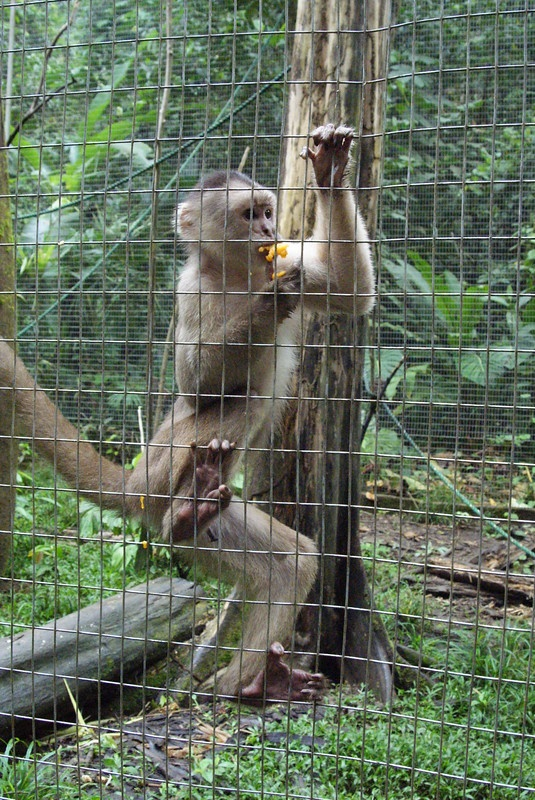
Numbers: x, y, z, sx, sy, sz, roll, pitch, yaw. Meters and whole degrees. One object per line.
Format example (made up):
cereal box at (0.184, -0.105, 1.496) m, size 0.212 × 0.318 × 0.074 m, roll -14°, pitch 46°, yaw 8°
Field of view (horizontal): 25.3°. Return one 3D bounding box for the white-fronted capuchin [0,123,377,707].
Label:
white-fronted capuchin at (-0.277, 0.082, 5.652) m, size 1.775 × 2.726 × 1.598 m, roll 2°, pitch 3°, yaw 31°
